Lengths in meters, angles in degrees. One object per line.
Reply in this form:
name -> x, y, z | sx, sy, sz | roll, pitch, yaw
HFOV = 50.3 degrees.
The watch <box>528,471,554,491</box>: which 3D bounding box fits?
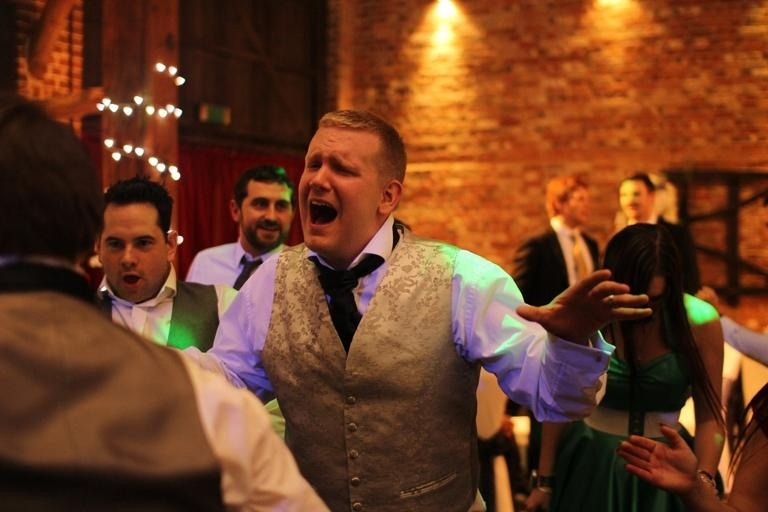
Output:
watch -> 0.794, 1.142, 4.138 | 0.050, 0.084, 0.084 | 22, 5, -16
